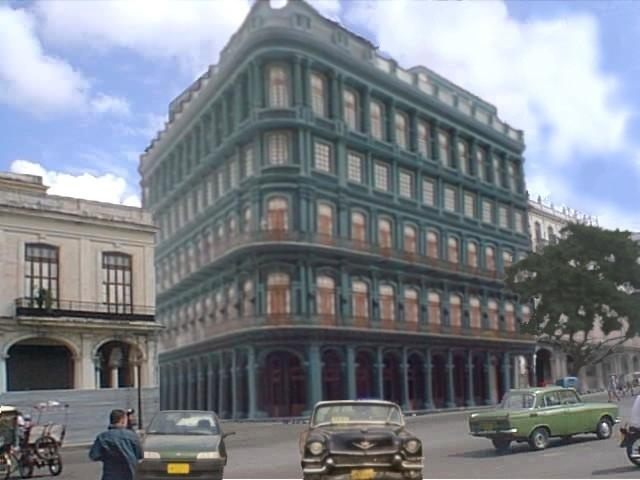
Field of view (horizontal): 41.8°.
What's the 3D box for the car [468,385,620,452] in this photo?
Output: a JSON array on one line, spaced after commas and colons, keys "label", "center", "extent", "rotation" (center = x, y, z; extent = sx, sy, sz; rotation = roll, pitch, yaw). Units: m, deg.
[{"label": "car", "center": [8.442, 6.658, 31.223], "extent": [5.096, 2.237, 1.163], "rotation": [3, -17, -18]}]
